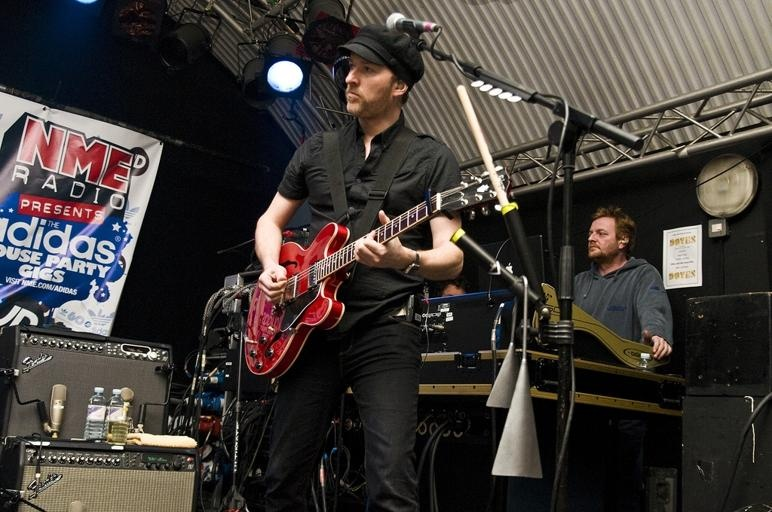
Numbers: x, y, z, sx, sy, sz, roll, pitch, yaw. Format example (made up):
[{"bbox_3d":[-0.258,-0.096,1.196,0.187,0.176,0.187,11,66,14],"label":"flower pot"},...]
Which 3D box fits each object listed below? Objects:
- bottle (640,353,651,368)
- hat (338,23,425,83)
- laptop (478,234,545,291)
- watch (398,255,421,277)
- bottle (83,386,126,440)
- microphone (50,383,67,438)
[{"bbox_3d":[1.631,0.659,4.222,0.083,0.039,0.118,2,0,16],"label":"bottle"},{"bbox_3d":[-0.014,-1.032,3.381,0.485,0.246,0.345,9,9,-46],"label":"hat"},{"bbox_3d":[0.652,0.046,3.453,0.325,0.359,0.026,-11,-26,38],"label":"laptop"},{"bbox_3d":[0.111,0.051,3.018,0.058,0.106,0.102,17,-16,-8],"label":"watch"},{"bbox_3d":[-1.634,0.923,3.876,0.212,0.297,0.103,14,-29,-38],"label":"bottle"},{"bbox_3d":[-1.877,0.885,3.827,0.092,0.290,0.059,13,-20,-31],"label":"microphone"}]
